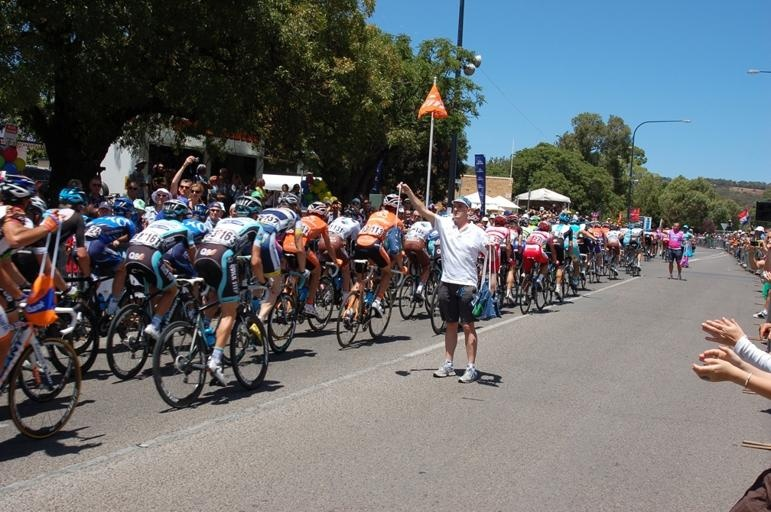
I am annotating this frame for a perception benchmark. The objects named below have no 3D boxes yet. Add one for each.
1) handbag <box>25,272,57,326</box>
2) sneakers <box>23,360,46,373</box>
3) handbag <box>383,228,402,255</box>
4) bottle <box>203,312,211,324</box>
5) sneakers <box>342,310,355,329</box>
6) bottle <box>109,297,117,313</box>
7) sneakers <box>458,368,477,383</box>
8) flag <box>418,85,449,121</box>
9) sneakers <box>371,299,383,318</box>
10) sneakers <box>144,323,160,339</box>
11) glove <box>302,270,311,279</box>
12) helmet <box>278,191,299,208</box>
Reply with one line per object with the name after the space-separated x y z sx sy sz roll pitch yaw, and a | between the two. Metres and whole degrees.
-3.788 0.482 6.314 0.336 0.554 0.149 3 1 -34 | handbag
-3.988 1.269 6.554 0.260 0.094 0.103 19 -28 -28 | sneakers
0.160 -0.282 11.643 0.422 0.658 0.319 4 7 16 | handbag
-2.454 0.888 7.926 0.118 0.145 0.126 3 -7 -7 | bottle
-0.655 1.145 10.273 0.200 0.321 0.107 7 -1 -11 | sneakers
-4.280 0.802 9.013 0.079 0.251 0.103 11 -37 -27 | bottle
1.263 1.820 8.613 0.137 0.177 0.366 -2 -14 30 | sneakers
1.703 -5.438 19.936 0.853 1.248 1.661 2 6 4 | flag
-0.124 1.005 10.711 0.125 0.195 0.404 5 -18 20 | sneakers
-3.338 1.089 8.210 0.104 0.147 0.308 6 -22 9 | sneakers
-1.472 0.359 10.809 0.128 0.154 0.167 30 1 2 | glove
-1.734 -1.045 10.182 0.290 0.263 0.273 -10 -18 -2 | helmet
